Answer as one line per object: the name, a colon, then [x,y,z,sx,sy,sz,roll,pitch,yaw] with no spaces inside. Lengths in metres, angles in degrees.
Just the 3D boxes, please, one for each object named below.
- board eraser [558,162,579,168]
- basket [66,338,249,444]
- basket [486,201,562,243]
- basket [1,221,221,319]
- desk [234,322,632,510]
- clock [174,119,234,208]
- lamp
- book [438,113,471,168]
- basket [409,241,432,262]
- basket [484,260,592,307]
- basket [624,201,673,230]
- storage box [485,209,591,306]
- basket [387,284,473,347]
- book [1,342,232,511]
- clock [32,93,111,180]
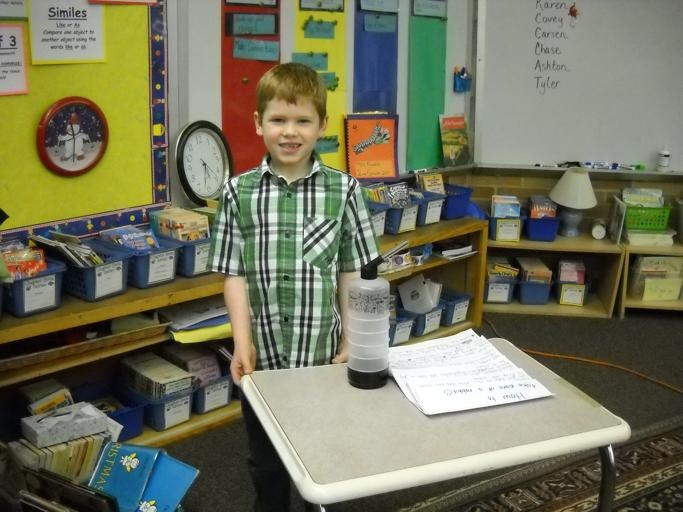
board eraser: [1.699,-0.686,4.046,0.090,0.037,0.075,-3,8,17]
basket: [-0.778,0.615,2.495,0.632,0.203,0.474,4,10,33]
basket: [1.335,-0.230,3.957,0.437,0.168,0.317,-2,19,-1]
basket: [-0.955,-0.020,2.210,0.360,0.151,0.683,13,19,38]
desk: [0.239,0.474,1.481,0.759,0.373,0.504,-8,20,-22]
clock: [-0.671,-0.448,2.631,0.383,0.375,0.044,1,9,39]
lamp: [1.715,-0.405,4.036,0.334,0.481,0.333,19,34,38]
book: [0.791,-0.833,3.881,0.037,0.373,0.353,-3,13,42]
basket: [0.479,-0.019,3.277,0.090,0.066,0.151,-2,8,3]
basket: [1.534,0.207,3.989,0.400,0.205,0.401,0,15,2]
basket: [2.133,-0.272,3.756,0.181,0.126,0.267,1,4,12]
storage box: [1.532,0.004,4.188,0.532,0.296,0.825,0,15,3]
basket: [0.533,0.379,3.416,0.304,0.163,0.453,14,22,43]
book: [-1.001,0.663,2.446,0.843,0.246,0.602,-8,13,-39]
clock: [-1.129,-0.502,2.232,0.048,0.349,0.354,11,16,42]
